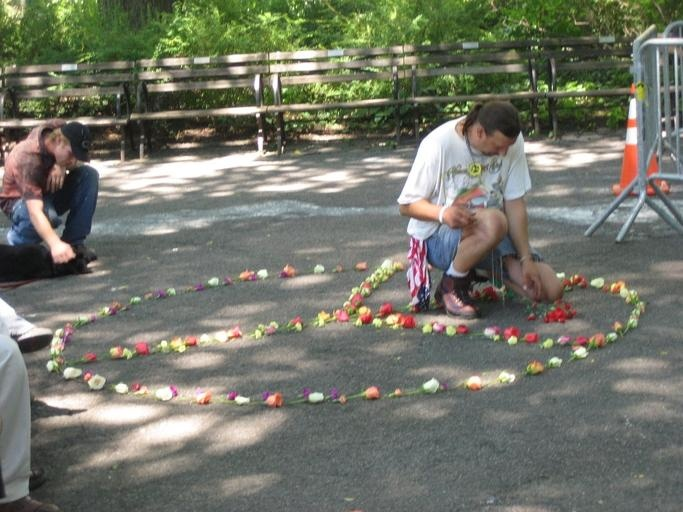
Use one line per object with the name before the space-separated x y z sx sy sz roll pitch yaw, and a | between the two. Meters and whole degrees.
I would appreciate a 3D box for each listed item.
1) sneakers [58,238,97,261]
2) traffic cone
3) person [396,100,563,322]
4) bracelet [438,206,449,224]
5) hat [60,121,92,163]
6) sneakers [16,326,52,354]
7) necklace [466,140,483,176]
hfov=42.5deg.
sneakers | -2.293 -0.053 7.753 0.287 0.102 0.290 -17 51 -45
traffic cone | 2.915 -1.158 8.625 0.631 1.021 0.658 1 2 5
person | 0.980 -0.363 6.274 1.058 1.544 0.951 -17 24 -33
bracelet | 0.699 -0.288 6.052 0.022 0.094 0.091 10 52 3
hat | -2.217 -0.988 7.454 0.408 0.304 0.222 16 15 39
sneakers | -1.974 0.552 5.701 0.269 0.105 0.113 -8 15 -37
necklace | 0.938 -0.669 6.138 0.045 0.200 0.144 -3 1 35
